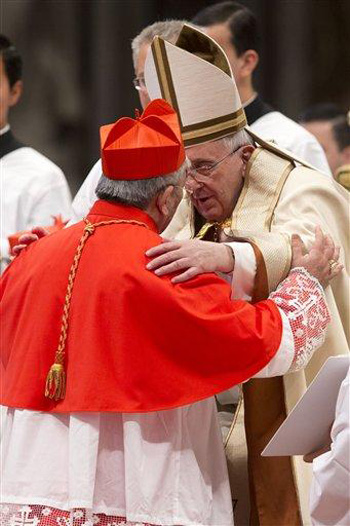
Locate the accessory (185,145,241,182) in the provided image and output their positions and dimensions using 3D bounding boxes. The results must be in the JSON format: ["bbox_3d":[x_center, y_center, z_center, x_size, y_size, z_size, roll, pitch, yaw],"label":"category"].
[{"bbox_3d":[0.140,-0.342,2.188,0.165,0.051,0.126,-42,17,-18],"label":"accessory"}]

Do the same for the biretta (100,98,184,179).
[{"bbox_3d":[-0.094,-0.301,1.618,0.202,0.130,0.206,22,43,37],"label":"biretta"}]

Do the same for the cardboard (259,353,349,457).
[{"bbox_3d":[0.323,0.361,1.463,0.223,0.329,0.231,1,51,9],"label":"cardboard"}]

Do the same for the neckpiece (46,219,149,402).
[{"bbox_3d":[-0.241,0.090,1.549,0.199,0.471,0.042,12,3,-20],"label":"neckpiece"}]
